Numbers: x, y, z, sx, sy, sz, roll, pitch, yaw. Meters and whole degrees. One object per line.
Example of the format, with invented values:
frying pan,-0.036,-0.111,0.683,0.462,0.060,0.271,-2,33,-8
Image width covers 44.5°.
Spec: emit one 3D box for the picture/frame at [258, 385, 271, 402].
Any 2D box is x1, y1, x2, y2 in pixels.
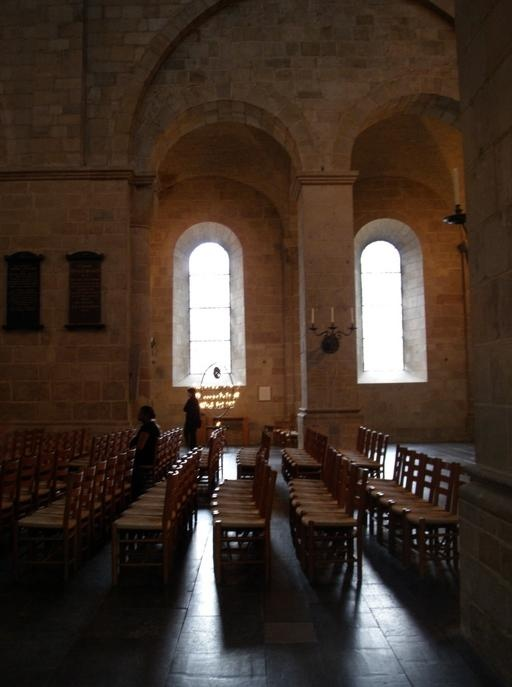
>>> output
picture/frame,0.220,1.142,14.524,0.402,0.375,0.279,0,-3,3
